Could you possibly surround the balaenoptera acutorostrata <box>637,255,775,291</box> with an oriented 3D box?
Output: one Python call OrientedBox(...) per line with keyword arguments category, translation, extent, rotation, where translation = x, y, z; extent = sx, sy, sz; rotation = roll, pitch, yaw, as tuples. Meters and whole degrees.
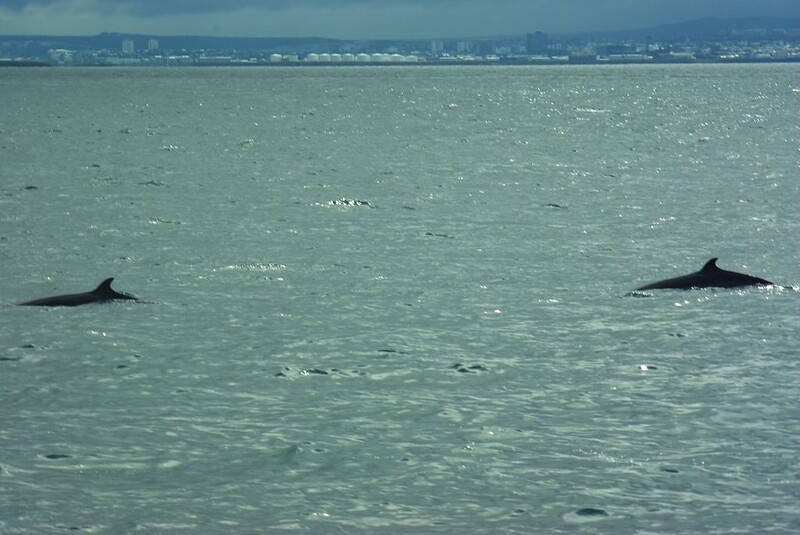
OrientedBox(category="balaenoptera acutorostrata", translation=(14.965, 0.358, 81.355), extent=(7.749, 1.135, 1.990), rotation=(-2, -8, -3))
